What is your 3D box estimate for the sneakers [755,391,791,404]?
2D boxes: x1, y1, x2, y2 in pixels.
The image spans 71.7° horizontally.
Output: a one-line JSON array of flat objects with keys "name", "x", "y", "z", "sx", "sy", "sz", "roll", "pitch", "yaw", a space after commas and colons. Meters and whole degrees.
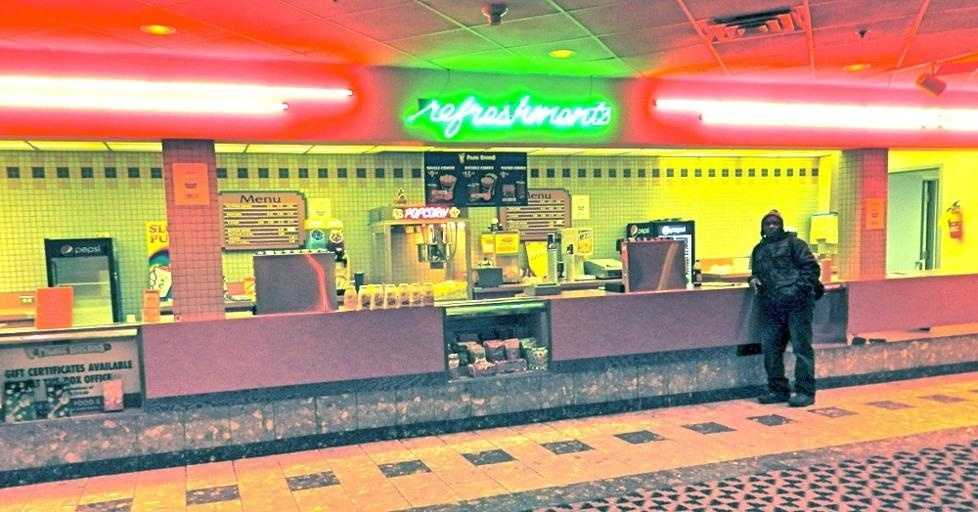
[{"name": "sneakers", "x": 4.436, "y": 2.211, "z": 10.561, "sx": 0.633, "sy": 0.177, "sz": 0.174, "roll": 2, "pitch": -2, "yaw": -3}]

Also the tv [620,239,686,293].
[{"name": "tv", "x": 2.544, "y": 0.169, "z": 10.624, "sx": 1.221, "sy": 0.704, "sz": 0.331, "roll": -1, "pitch": -2, "yaw": -12}]

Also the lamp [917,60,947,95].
[{"name": "lamp", "x": 6.913, "y": -2.758, "z": 10.626, "sx": 0.345, "sy": 0.495, "sz": 0.785, "roll": -1, "pitch": 5, "yaw": 32}]

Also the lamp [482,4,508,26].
[{"name": "lamp", "x": 0.063, "y": -3.096, "z": 8.668, "sx": 0.285, "sy": 0.136, "sz": 0.243, "roll": -5, "pitch": 11, "yaw": -21}]

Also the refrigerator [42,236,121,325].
[{"name": "refrigerator", "x": -7.218, "y": 0.442, "z": 12.004, "sx": 1.012, "sy": 1.516, "sz": 0.332, "roll": -7, "pitch": 5, "yaw": -30}]

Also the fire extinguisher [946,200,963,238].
[{"name": "fire extinguisher", "x": 9.436, "y": -0.716, "z": 13.742, "sx": 0.130, "sy": 0.779, "sz": 0.294, "roll": -6, "pitch": 5, "yaw": -14}]

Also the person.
[{"name": "person", "x": 4.585, "y": 0.804, "z": 10.471, "sx": 1.043, "sy": 2.978, "sz": 0.542, "roll": -3, "pitch": 5, "yaw": 18}]

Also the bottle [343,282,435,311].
[{"name": "bottle", "x": -1.476, "y": 0.580, "z": 9.801, "sx": 1.277, "sy": 0.332, "sz": 0.209, "roll": -3, "pitch": 5, "yaw": -10}]

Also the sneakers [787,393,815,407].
[{"name": "sneakers", "x": 4.820, "y": 2.213, "z": 10.443, "sx": 0.453, "sy": 0.130, "sz": 0.196, "roll": 2, "pitch": -2, "yaw": -16}]
